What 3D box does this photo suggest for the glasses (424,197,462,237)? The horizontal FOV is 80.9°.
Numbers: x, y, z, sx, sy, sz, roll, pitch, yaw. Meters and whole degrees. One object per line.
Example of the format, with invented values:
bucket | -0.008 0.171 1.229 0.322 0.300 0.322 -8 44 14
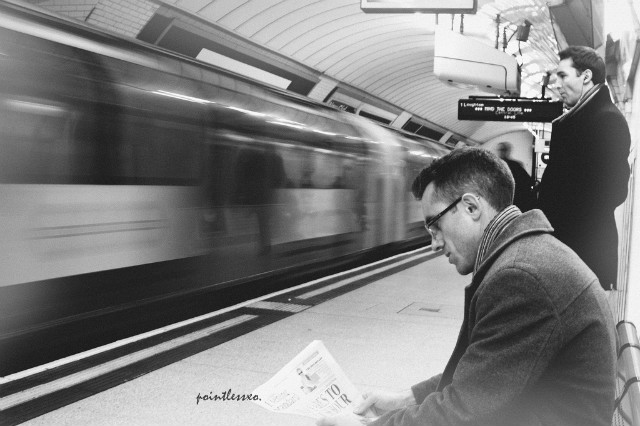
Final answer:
glasses | 0.525 0.001 1.611 0.049 0.173 0.159 56 2 5
